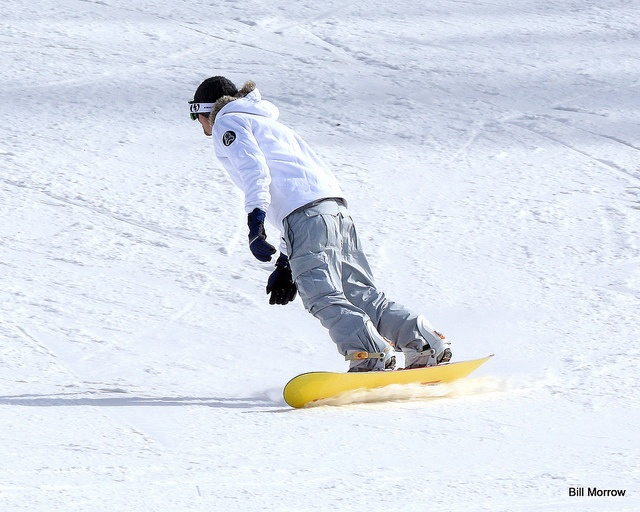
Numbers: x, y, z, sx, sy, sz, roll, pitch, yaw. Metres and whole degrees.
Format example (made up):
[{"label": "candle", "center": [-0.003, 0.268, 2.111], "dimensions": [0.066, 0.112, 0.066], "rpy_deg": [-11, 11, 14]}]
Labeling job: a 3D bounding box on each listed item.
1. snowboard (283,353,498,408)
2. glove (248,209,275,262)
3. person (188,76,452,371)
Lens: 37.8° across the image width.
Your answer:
[{"label": "snowboard", "center": [0.283, 0.709, 5.400], "dimensions": [1.606, 0.221, 0.110], "rpy_deg": [-3, 35, -18]}, {"label": "glove", "center": [-0.344, -0.126, 5.366], "dimensions": [0.139, 0.310, 0.297], "rpy_deg": [-8, 4, -4]}, {"label": "person", "center": [0.077, -0.093, 5.551], "dimensions": [1.101, 1.580, 0.625], "rpy_deg": [-8, 4, -14]}]
